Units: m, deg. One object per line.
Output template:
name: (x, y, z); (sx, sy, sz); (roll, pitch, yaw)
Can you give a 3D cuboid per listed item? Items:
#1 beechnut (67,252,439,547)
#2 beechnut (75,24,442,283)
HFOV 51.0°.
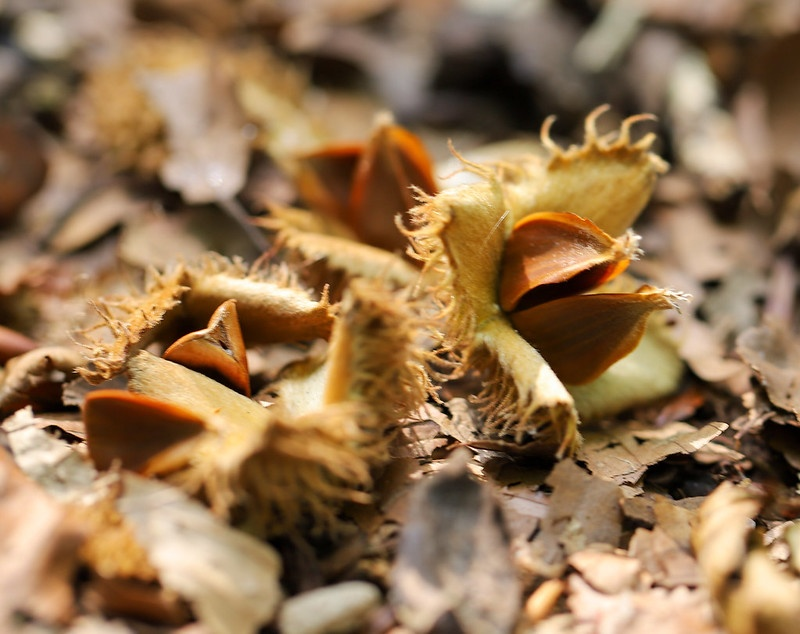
beechnut: (-0.174, 0.070, 0.852); (0.445, 0.118, 0.282); (-3, 38, -4)
beechnut: (-0.196, -0.227, 1.134); (0.487, 0.107, 0.424); (32, 36, -8)
